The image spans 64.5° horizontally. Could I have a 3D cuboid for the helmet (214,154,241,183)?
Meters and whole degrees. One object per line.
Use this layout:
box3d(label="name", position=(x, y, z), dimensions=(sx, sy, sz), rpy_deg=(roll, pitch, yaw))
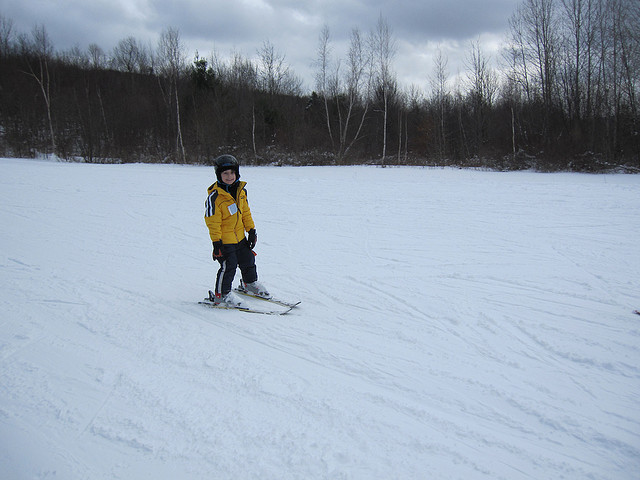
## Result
box3d(label="helmet", position=(-1.438, -1.137, 7.869), dimensions=(0.312, 0.425, 0.422), rpy_deg=(-9, 17, -19))

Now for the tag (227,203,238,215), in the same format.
box3d(label="tag", position=(-1.331, -0.494, 7.757), dimensions=(0.139, 0.134, 0.032), rpy_deg=(-37, 18, -31))

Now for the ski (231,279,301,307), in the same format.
box3d(label="ski", position=(-0.894, 0.894, 8.322), dimensions=(0.839, 0.128, 0.147), rpy_deg=(21, 37, 24))

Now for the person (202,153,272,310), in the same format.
box3d(label="person", position=(-1.374, -0.202, 8.343), dimensions=(0.887, 2.381, 1.595), rpy_deg=(-1, 9, -7))
